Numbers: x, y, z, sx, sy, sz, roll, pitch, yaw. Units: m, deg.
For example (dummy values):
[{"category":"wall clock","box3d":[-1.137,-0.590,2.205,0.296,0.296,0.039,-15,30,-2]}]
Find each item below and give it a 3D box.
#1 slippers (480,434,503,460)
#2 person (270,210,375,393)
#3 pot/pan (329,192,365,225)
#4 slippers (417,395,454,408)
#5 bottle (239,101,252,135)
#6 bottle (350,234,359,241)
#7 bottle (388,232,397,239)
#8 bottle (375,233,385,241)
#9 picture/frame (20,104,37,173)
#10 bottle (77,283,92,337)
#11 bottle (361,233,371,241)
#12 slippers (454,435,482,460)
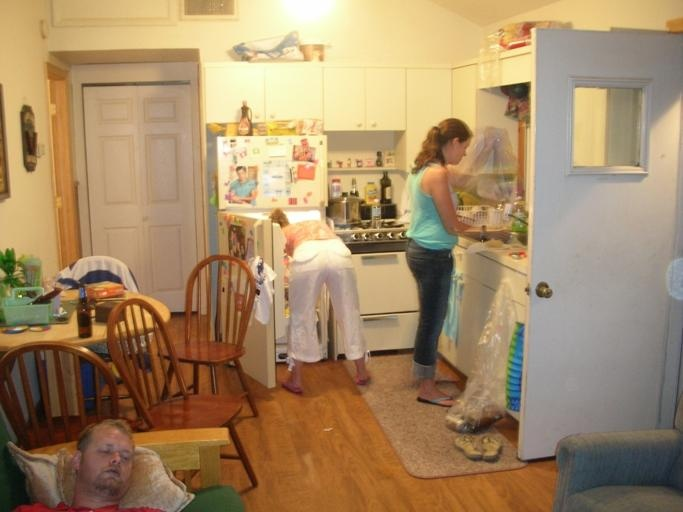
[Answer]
[{"category":"slippers","box3d":[0.892,1.143,3.249,0.065,0.077,0.186,-1,-1,9]},{"category":"person","box3d":[-0.124,0.365,4.113,0.672,1.214,0.466,-2,14,-6]},{"category":"pot/pan","box3d":[0.036,-0.405,4.765,0.225,0.209,0.273,0,4,-8]},{"category":"slippers","box3d":[0.654,1.000,3.819,0.207,0.053,0.084,0,10,21]},{"category":"bottle","box3d":[-0.817,-1.161,4.645,0.126,0.281,0.206,-3,14,-8]},{"category":"bottle","box3d":[0.111,-0.148,4.506,0.046,0.058,0.014,2,4,-6]},{"category":"bottle","box3d":[0.416,-0.162,4.560,0.053,0.054,0.038,0,2,-15]},{"category":"bottle","box3d":[0.315,-0.151,4.537,0.057,0.058,0.014,-4,7,-11]},{"category":"picture/frame","box3d":[-2.437,-0.911,4.284,0.073,0.523,0.296,-5,14,-17]},{"category":"bottle","box3d":[-1.354,0.290,2.867,0.070,0.248,0.164,-8,15,-26]},{"category":"bottle","box3d":[0.200,-0.150,4.516,0.055,0.060,0.014,-7,3,-9]},{"category":"slippers","box3d":[0.765,1.149,3.284,0.067,0.071,0.161,-2,5,-22]}]
